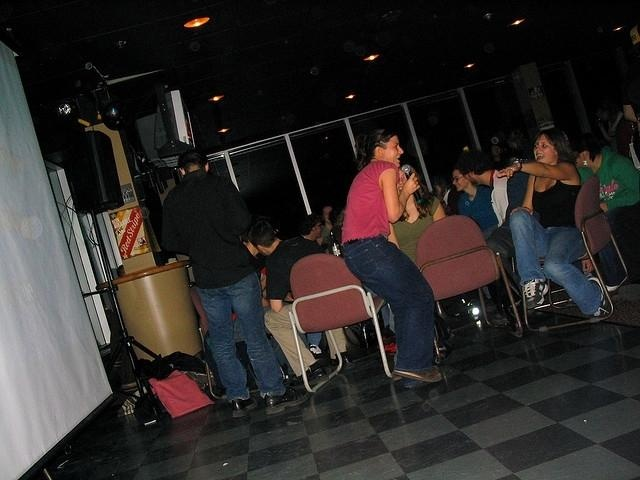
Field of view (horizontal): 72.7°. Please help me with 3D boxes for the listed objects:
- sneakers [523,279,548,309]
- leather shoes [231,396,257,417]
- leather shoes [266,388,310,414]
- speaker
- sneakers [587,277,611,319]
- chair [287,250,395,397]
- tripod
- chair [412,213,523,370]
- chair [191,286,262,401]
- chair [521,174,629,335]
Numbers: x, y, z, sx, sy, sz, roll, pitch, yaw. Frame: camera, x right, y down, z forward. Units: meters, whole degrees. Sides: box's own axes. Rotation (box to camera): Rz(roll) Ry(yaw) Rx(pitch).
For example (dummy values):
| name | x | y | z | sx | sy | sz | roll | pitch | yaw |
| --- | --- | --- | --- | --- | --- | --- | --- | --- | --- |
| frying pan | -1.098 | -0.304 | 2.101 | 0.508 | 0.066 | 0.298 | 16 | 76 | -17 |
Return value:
| name | x | y | z | sx | sy | sz | roll | pitch | yaw |
| --- | --- | --- | --- | --- | --- | --- | --- | --- | --- |
| sneakers | 1.788 | 0.439 | 3.598 | 0.139 | 0.154 | 0.350 | -13 | -9 | 23 |
| leather shoes | -0.613 | 1.340 | 3.539 | 0.097 | 0.144 | 0.218 | 0 | 3 | 22 |
| leather shoes | -0.246 | 1.263 | 3.456 | 0.332 | 0.135 | 0.137 | -3 | -1 | -26 |
| speaker | -2.651 | -0.825 | 5.069 | 0.235 | 1.030 | 0.712 | -15 | 2 | 18 |
| sneakers | 2.256 | 0.474 | 3.460 | 0.143 | 0.337 | 0.116 | -27 | 12 | -38 |
| chair | 0.162 | 0.625 | 3.583 | 0.819 | 1.016 | 0.812 | -18 | -7 | 27 |
| tripod | -2.106 | 0.857 | 4.851 | 0.801 | 2.256 | 0.834 | -2 | -40 | -42 |
| chair | 1.147 | 0.350 | 3.592 | 0.808 | 0.991 | 0.791 | -16 | -6 | -10 |
| chair | -0.689 | 0.814 | 3.790 | 0.484 | 1.597 | 0.382 | -9 | 37 | -6 |
| chair | 2.116 | 0.097 | 3.696 | 0.669 | 1.029 | 0.833 | -14 | 2 | 38 |
